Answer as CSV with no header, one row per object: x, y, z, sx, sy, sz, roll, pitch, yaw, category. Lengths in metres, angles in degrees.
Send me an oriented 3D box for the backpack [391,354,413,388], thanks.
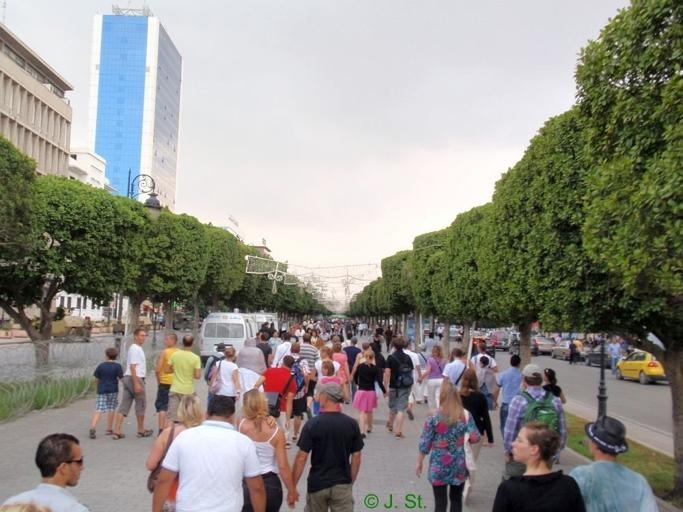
1.375,2.709,13.069,0.615,0.779,0.409,2,-13,-15,backpack

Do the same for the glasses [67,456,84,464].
-2.173,1.683,4.561,0.094,0.032,0.083,0,1,-7,glasses

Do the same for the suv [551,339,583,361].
17.031,7.073,41.951,1.312,1.114,3.179,0,1,2,suv

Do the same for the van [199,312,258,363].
-5.480,3.945,26.114,2.199,2.104,3.788,0,0,2,van

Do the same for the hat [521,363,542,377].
2.817,1.687,8.279,0.250,0.171,0.584,-2,-10,19,hat

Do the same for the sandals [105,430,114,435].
-5.115,3.865,12.314,0.080,0.072,0.157,1,-1,0,sandals

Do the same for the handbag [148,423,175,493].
-1.878,2.124,5.839,0.245,0.661,0.597,3,-9,-16,handbag

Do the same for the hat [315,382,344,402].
-0.135,1.648,6.772,0.313,0.232,0.235,1,-9,1,hat
